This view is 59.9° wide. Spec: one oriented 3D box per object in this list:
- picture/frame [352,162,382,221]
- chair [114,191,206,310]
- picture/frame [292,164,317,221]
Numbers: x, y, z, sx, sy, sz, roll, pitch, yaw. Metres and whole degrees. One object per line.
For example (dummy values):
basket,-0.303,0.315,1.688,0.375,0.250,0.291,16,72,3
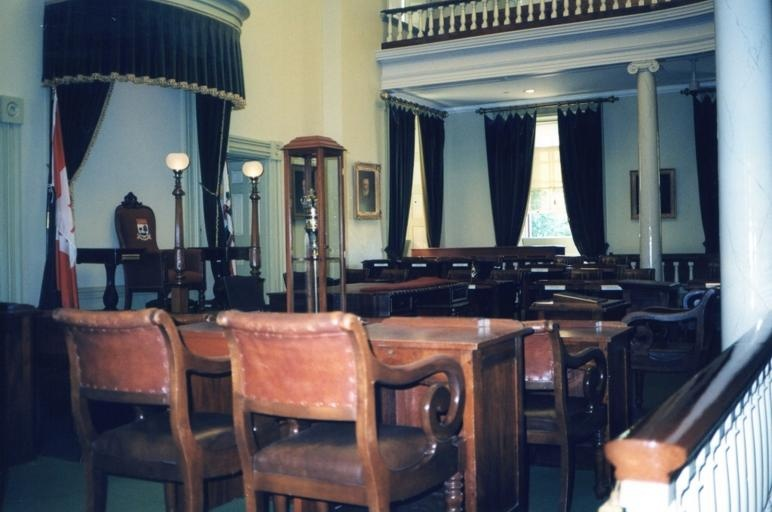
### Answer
picture/frame,-0.376,-1.178,12.330,0.169,1.007,0.889,1,3,27
chair,-2.813,-0.048,8.412,0.970,1.586,1.005,-5,-2,43
picture/frame,-0.658,-0.509,5.334,0.188,0.448,0.296,-1,3,-7
